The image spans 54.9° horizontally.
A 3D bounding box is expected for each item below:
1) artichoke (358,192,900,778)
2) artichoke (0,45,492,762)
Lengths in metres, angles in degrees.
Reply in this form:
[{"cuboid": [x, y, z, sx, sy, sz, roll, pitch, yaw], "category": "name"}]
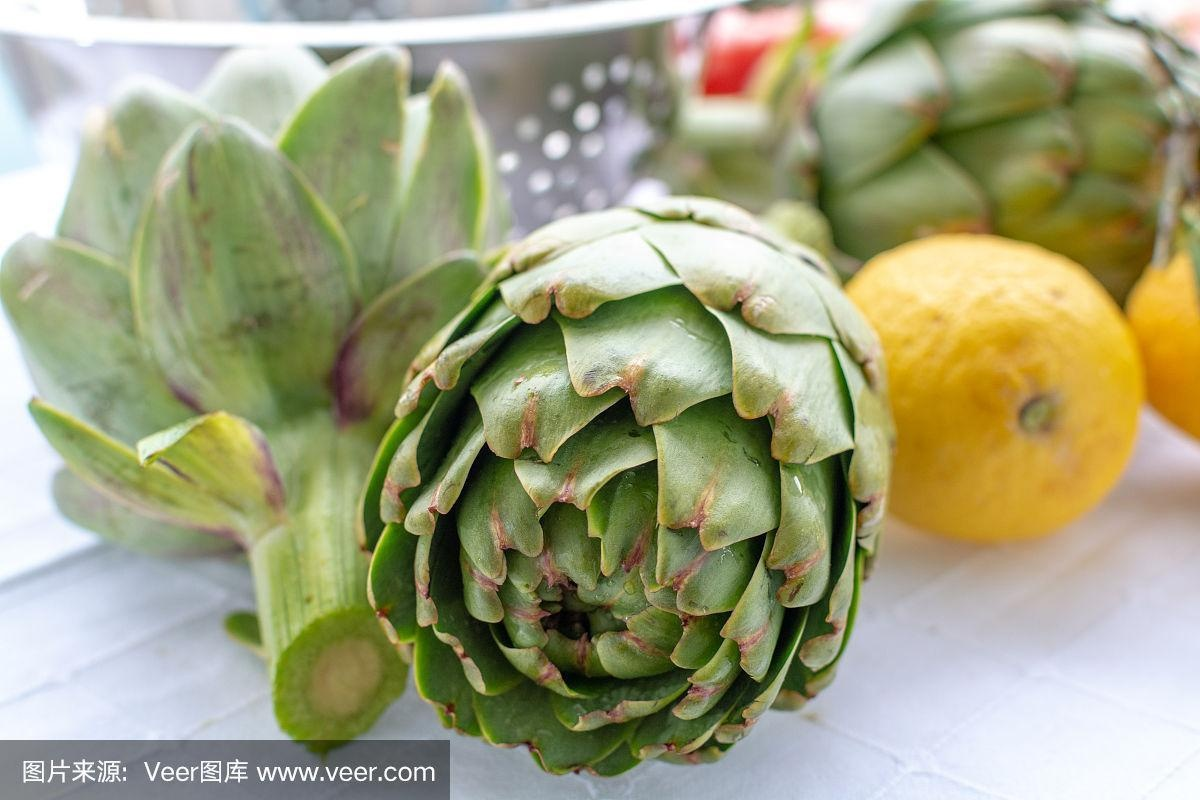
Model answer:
[{"cuboid": [0.060, 0.006, 0.859, 0.245, 0.243, 0.448, 33, 47, 0], "category": "artichoke"}, {"cuboid": [-0.217, -0.019, 0.941, 0.347, 0.288, 0.480, -15, 84, -3], "category": "artichoke"}]
